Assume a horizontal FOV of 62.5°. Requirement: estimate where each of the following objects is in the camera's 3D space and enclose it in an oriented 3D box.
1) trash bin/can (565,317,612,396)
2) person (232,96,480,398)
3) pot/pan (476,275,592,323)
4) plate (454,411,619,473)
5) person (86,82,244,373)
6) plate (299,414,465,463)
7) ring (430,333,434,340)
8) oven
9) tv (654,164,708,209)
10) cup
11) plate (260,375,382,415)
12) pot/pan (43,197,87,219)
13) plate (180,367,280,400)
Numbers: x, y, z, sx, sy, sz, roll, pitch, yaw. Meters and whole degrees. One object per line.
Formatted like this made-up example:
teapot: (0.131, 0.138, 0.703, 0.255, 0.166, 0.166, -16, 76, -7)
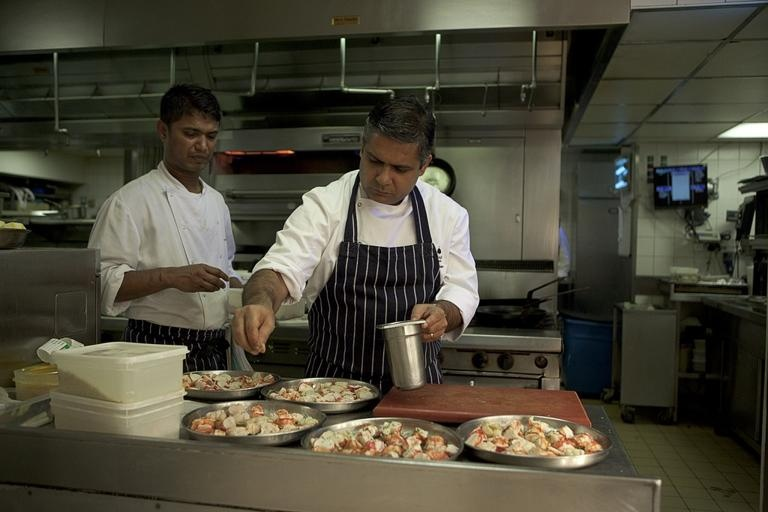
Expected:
trash bin/can: (2.229, 1.112, 7.204, 0.807, 0.792, 0.726, 0, -1, 15)
person: (-0.082, -0.051, 3.135, 1.239, 1.455, 0.647, 1, 1, -14)
pot/pan: (1.035, 0.339, 4.786, 0.731, 0.349, 0.609, 1, 1, -3)
plate: (0.617, 0.761, 2.608, 0.624, 0.146, 0.273, 1, 1, 6)
person: (-1.263, -0.114, 3.792, 0.796, 1.873, 0.754, 2, 12, -12)
plate: (0.010, 0.757, 2.615, 0.272, 0.026, 0.268, 0, 3, -4)
ring: (0.223, 0.377, 2.958, 0.026, 0.024, 0.024, 0, -12, 0)
oven: (-0.824, -0.623, 5.348, 1.310, 0.833, 0.748, 1, 3, 5)
tv: (3.181, -0.748, 6.799, 0.542, 0.458, 0.185, 1, 1, 23)
cup: (0.109, 0.444, 2.790, 0.203, 0.277, 0.255, 0, -2, 7)
plate: (-0.252, 0.603, 2.951, 0.417, 0.124, 0.542, 4, 6, 38)
pot/pan: (-4.023, -0.597, 7.952, 0.368, 0.173, 0.502, 0, 1, -26)
plate: (-0.725, 0.565, 3.041, 0.396, 0.102, 0.382, 3, 5, 37)
